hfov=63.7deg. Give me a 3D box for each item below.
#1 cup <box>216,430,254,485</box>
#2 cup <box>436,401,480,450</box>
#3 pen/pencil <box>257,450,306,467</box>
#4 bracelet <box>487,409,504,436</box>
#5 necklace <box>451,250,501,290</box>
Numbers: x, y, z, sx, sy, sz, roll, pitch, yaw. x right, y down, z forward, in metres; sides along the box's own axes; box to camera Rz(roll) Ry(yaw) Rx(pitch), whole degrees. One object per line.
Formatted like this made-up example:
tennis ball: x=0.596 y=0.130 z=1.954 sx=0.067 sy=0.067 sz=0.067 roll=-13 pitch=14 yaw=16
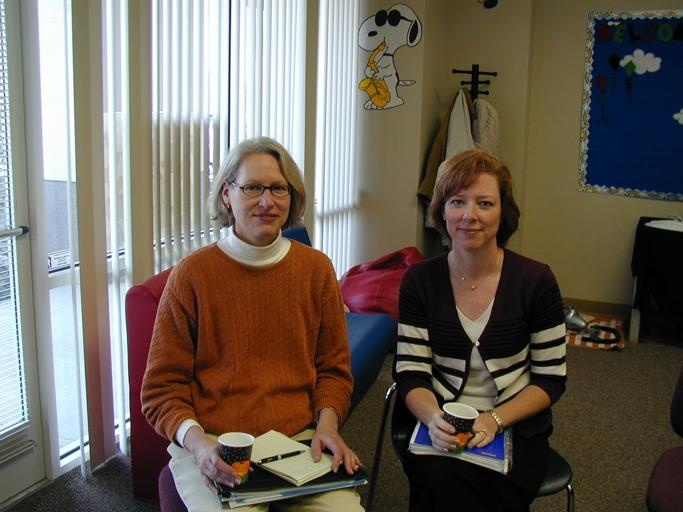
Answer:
cup: x=-0.311 y=0.612 z=1.675 sx=0.111 sy=0.126 sz=0.123 roll=-1 pitch=-2 yaw=5
cup: x=0.390 y=0.545 z=1.828 sx=0.122 sy=0.151 sz=0.136 roll=1 pitch=6 yaw=-8
pen/pencil: x=-0.198 y=0.651 z=1.755 sx=0.204 sy=0.025 sz=0.016 roll=-5 pitch=13 yaw=-43
bracelet: x=0.538 y=0.583 z=1.924 sx=0.017 sy=0.061 sz=0.050 roll=-13 pitch=5 yaw=8
necklace: x=0.506 y=0.059 z=2.075 sx=0.172 sy=0.276 sz=0.140 roll=-1 pitch=-4 yaw=9
